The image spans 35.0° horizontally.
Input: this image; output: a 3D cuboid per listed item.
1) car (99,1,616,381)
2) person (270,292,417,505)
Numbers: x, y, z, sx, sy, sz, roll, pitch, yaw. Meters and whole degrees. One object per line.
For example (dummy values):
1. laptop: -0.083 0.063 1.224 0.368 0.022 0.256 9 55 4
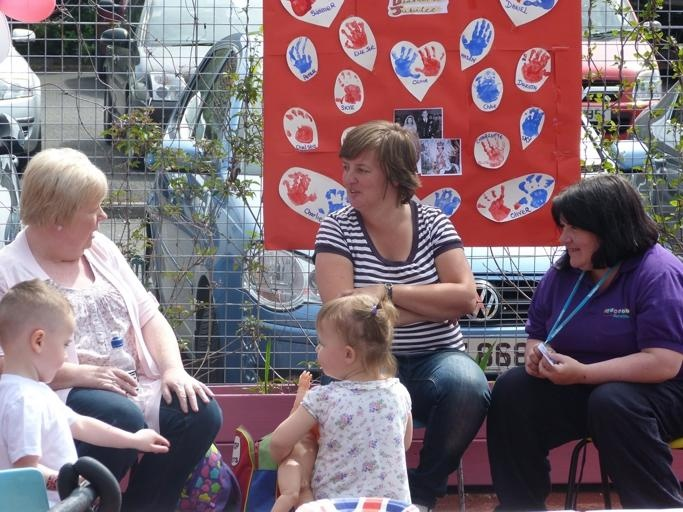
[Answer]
1. car: -0.266 -0.487 7.452 1.851 1.741 3.185 -1 5 -17
2. person: 0.002 0.692 5.000 0.655 1.002 0.379 2 4 1
